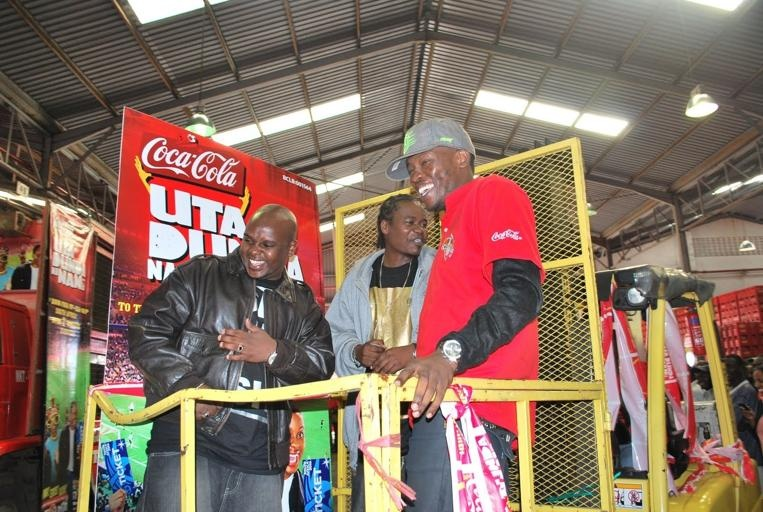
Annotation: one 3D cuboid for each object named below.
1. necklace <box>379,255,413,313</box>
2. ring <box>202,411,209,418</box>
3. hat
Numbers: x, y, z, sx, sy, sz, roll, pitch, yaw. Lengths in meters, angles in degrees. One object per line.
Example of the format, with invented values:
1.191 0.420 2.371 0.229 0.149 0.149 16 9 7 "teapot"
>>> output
0.165 0.323 6.065 0.453 0.770 0.413 -4 -48 6 "necklace"
-1.502 1.352 4.786 0.040 0.022 0.058 9 4 -13 "ring"
0.418 -1.025 4.958 0.709 0.324 0.497 -7 -4 -21 "hat"
